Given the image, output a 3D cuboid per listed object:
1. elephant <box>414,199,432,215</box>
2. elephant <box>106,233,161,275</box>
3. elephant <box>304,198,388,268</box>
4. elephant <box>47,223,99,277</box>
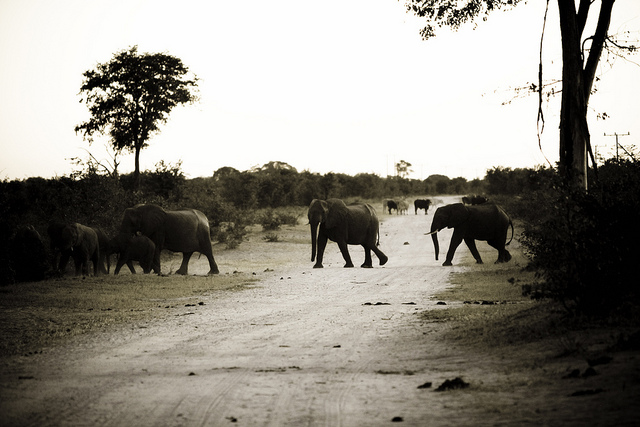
[{"bbox_3d":[8.470,-0.714,57.924,1.946,1.281,0.772,-3,0,40],"label":"elephant"},{"bbox_3d":[-5.814,1.334,21.757,1.820,1.257,0.678,6,-6,-34],"label":"elephant"},{"bbox_3d":[1.002,0.818,25.858,3.359,2.587,1.355,4,0,-18],"label":"elephant"},{"bbox_3d":[-7.495,1.157,21.381,1.243,1.726,2.802,-2,-5,5],"label":"elephant"}]
